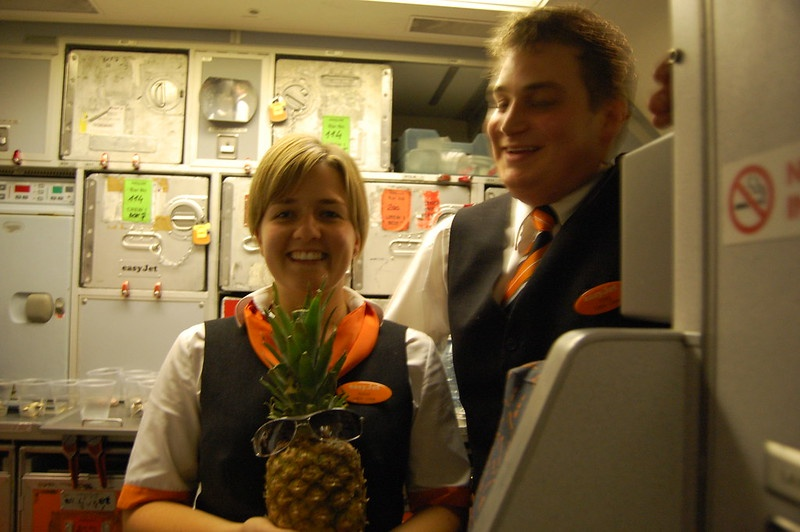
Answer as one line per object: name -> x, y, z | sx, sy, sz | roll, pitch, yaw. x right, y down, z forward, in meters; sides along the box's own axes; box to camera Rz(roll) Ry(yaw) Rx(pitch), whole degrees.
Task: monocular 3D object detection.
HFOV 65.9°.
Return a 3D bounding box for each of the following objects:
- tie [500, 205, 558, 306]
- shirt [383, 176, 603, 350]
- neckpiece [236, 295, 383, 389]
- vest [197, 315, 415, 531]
tie -> 0.366, -0.017, 1.736 | 0.052, 0.280, 0.077 | 20, 9, 1
shirt -> 0.200, 0.016, 1.967 | 0.227, 0.461, 0.893 | -2, -15, -20
neckpiece -> -0.342, 0.180, 1.782 | 0.121, 0.254, 0.266 | -23, -1, 28
vest -> -0.258, 0.416, 1.818 | 0.553, 0.505, 0.513 | 0, -7, -6
